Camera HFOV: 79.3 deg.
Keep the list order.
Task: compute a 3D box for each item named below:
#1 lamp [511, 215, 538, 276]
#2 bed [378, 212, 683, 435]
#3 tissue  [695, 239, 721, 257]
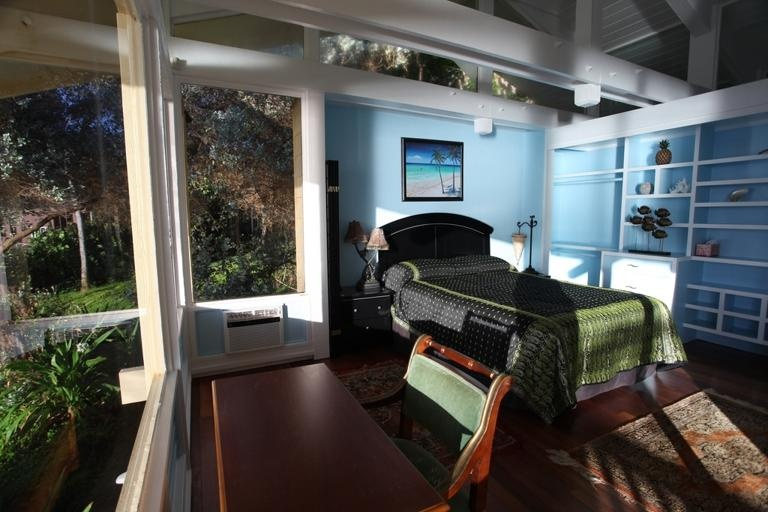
[{"bbox_3d":[1.836,-0.155,6.018,0.252,0.765,0.390,4,-2,-38],"label":"lamp"},{"bbox_3d":[1.132,0.485,4.467,1.908,1.307,2.365,-5,8,-33],"label":"bed"},{"bbox_3d":[3.429,-0.091,4.920,0.276,0.163,0.168,-5,7,-19],"label":"tissue "}]
